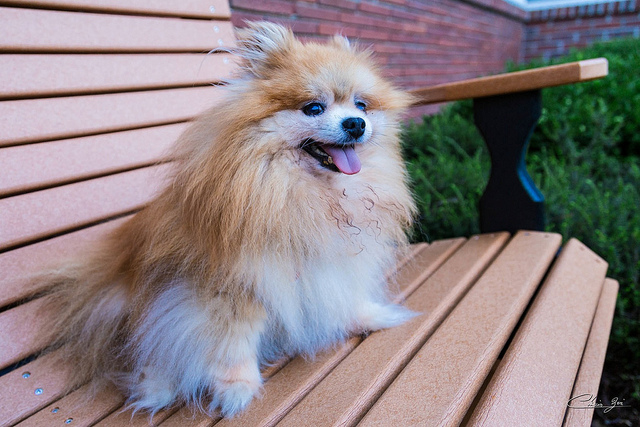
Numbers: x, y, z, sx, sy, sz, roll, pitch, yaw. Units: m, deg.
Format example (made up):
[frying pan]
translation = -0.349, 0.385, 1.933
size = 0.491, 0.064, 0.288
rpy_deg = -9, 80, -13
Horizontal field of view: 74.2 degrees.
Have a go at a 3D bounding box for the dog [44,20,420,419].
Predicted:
[dog]
translation = -0.384, 0.150, 2.325
size = 1.843, 1.473, 1.270
rpy_deg = -14, -6, 26
